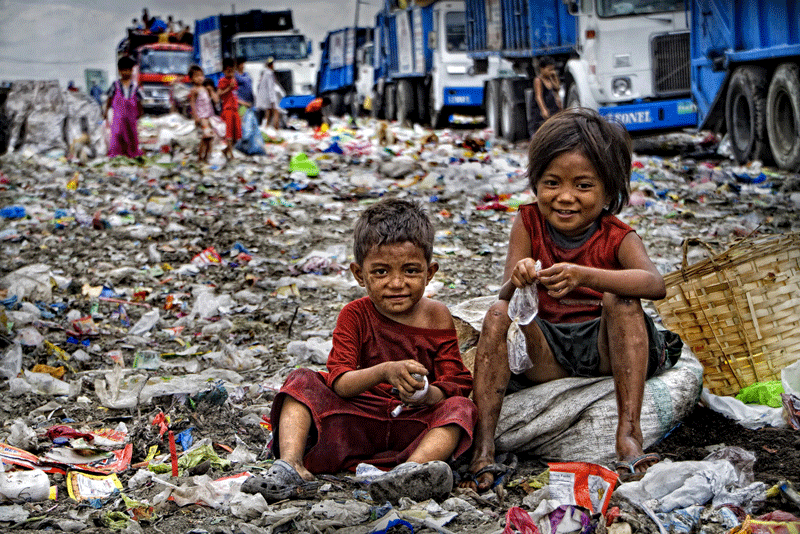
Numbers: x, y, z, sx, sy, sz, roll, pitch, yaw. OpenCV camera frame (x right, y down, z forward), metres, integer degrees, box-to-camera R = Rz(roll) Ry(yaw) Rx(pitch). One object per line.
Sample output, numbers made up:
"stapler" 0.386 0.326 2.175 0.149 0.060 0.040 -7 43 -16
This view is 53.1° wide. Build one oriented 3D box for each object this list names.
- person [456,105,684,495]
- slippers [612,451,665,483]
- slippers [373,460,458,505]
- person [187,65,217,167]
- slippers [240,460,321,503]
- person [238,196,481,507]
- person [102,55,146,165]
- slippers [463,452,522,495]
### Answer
"person" 0.772 0.097 3.596 0.865 1.642 0.736 0 4 17
"slippers" 0.996 0.824 3.367 0.281 0.088 0.167 -4 4 -33
"slippers" 0.052 0.854 3.242 0.273 0.104 0.165 -5 -6 0
"person" -2.238 -1.740 9.084 0.282 1.130 0.800 -3 4 -13
"slippers" -0.501 0.900 3.364 0.288 0.134 0.146 8 -10 -28
"person" -0.135 0.320 3.497 0.911 1.245 0.497 -2 4 -2
"person" -3.170 -1.835 9.158 0.375 1.186 0.471 -3 5 -20
"slippers" 0.407 0.906 3.528 0.211 0.120 0.076 -24 -22 -19
